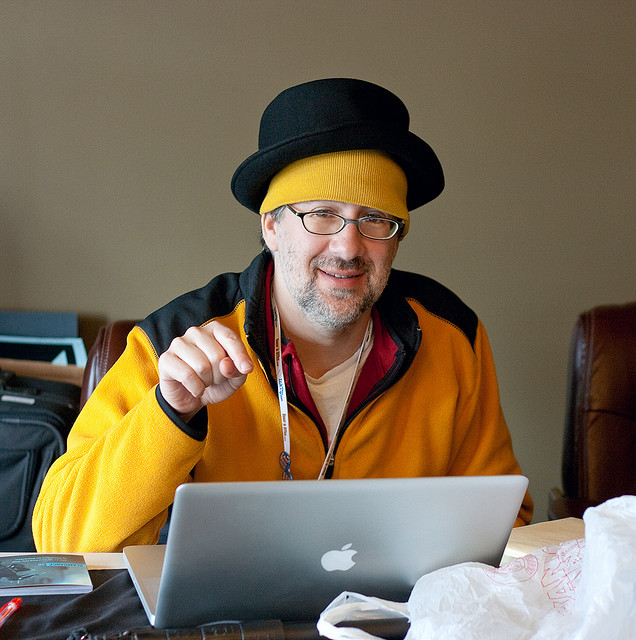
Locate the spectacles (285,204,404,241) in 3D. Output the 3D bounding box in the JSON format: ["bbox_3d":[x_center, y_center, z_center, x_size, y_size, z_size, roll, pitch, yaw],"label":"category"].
[{"bbox_3d":[0.050,-0.193,1.370,0.217,0.059,0.046,4,-4,-7],"label":"spectacles"}]

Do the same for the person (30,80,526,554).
[{"bbox_3d":[-0.035,-0.006,1.443,0.963,0.911,0.517,6,-6,-43],"label":"person"}]
